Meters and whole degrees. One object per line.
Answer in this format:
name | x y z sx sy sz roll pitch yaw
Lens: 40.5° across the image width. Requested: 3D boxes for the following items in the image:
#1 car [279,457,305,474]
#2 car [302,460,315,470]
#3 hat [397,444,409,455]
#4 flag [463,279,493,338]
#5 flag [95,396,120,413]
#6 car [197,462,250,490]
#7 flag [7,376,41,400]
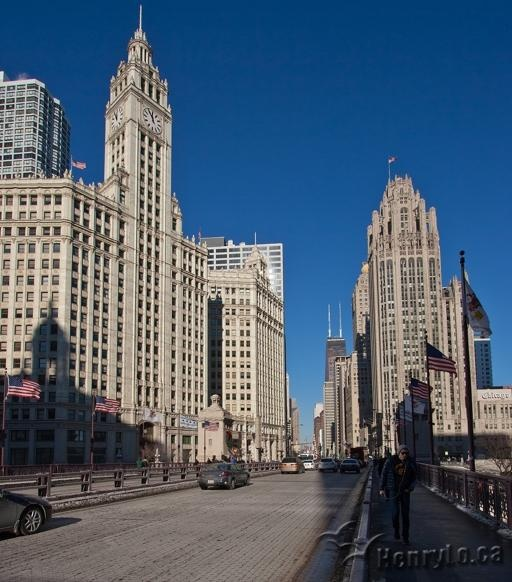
car | 3.097 14.890 59.301 0.973 0.984 2.406 -2 -10 13
car | 5.565 18.220 73.162 1.276 1.125 2.567 -1 -3 8
hat | 2.941 3.140 13.921 0.167 0.238 0.243 2 -26 8
flag | 8.169 0.625 25.792 0.769 2.221 1.899 -5 -14 18
flag | -12.262 9.277 57.250 1.374 1.086 3.114 -1 -15 0
car | -1.422 8.953 33.975 1.115 0.993 3.075 -1 -12 12
flag | -15.952 6.420 47.591 1.547 1.247 4.040 0 -15 -4
